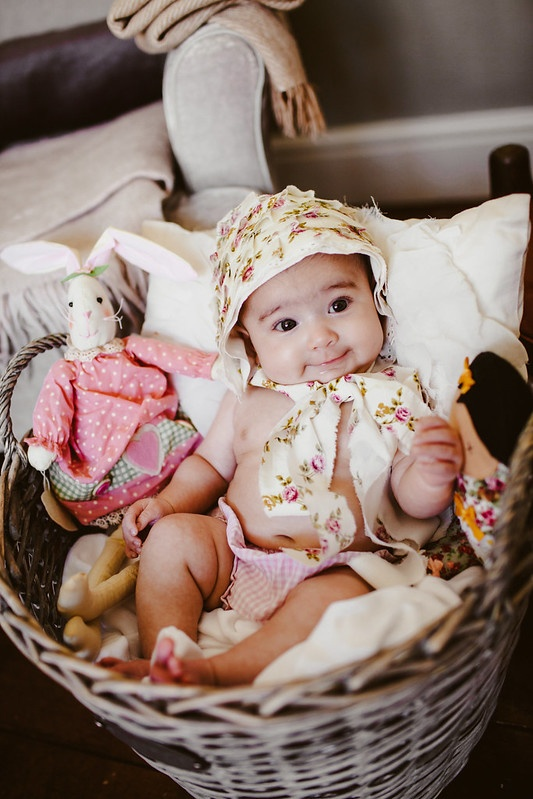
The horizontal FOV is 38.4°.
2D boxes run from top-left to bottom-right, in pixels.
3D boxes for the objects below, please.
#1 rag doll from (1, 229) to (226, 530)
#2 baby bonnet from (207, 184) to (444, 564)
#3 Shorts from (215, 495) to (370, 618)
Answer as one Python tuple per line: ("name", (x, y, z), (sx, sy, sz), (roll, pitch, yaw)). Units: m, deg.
("rag doll", (-0.245, -0.032, 1.292), (0.397, 0.472, 0.232), (-27, 39, -25))
("baby bonnet", (0.100, -0.039, 1.237), (0.339, 0.218, 0.549), (-11, 84, 7))
("Shorts", (0.024, 0.234, 1.085), (0.137, 0.044, 0.129), (27, 91, 43))
